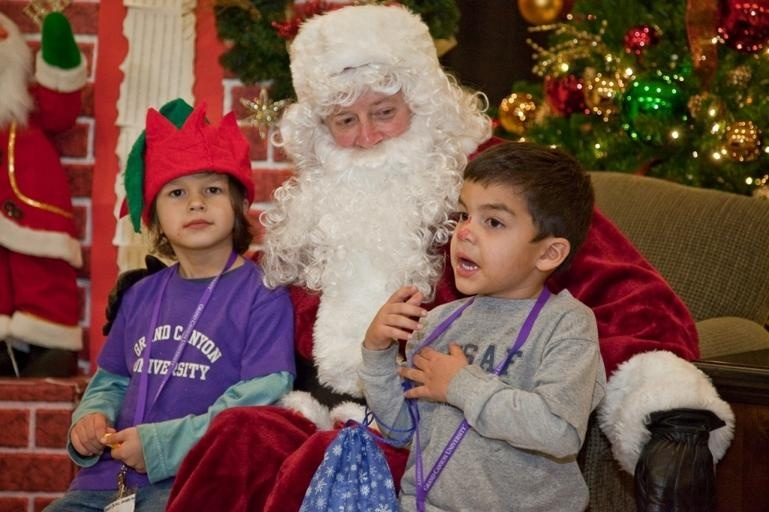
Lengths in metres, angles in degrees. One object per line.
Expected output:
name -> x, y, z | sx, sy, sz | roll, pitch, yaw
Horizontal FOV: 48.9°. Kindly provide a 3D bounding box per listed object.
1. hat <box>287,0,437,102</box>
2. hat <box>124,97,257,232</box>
hat -> -0.080, -0.734, 3.037 | 0.351, 0.234, 0.431 | -21, -4, 39
hat -> -0.729, -0.326, 3.054 | 0.372, 0.470, 0.493 | 3, -11, -39
